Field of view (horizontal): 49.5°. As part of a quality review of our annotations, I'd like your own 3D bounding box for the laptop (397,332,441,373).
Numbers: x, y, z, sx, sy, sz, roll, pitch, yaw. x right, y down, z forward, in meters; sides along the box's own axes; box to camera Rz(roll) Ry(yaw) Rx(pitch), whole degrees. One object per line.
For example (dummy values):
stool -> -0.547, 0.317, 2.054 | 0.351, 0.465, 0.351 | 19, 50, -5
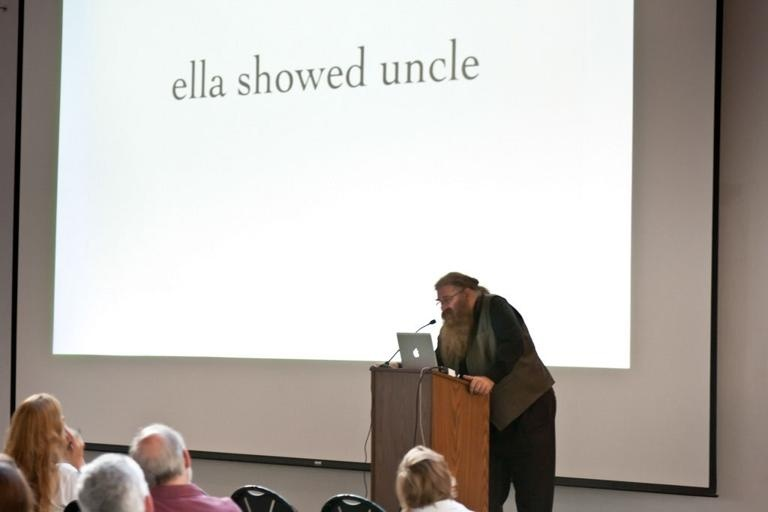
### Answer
laptop -> 0.226, 0.645, 5.735 | 0.265, 0.237, 0.203 | -7, -4, 41
